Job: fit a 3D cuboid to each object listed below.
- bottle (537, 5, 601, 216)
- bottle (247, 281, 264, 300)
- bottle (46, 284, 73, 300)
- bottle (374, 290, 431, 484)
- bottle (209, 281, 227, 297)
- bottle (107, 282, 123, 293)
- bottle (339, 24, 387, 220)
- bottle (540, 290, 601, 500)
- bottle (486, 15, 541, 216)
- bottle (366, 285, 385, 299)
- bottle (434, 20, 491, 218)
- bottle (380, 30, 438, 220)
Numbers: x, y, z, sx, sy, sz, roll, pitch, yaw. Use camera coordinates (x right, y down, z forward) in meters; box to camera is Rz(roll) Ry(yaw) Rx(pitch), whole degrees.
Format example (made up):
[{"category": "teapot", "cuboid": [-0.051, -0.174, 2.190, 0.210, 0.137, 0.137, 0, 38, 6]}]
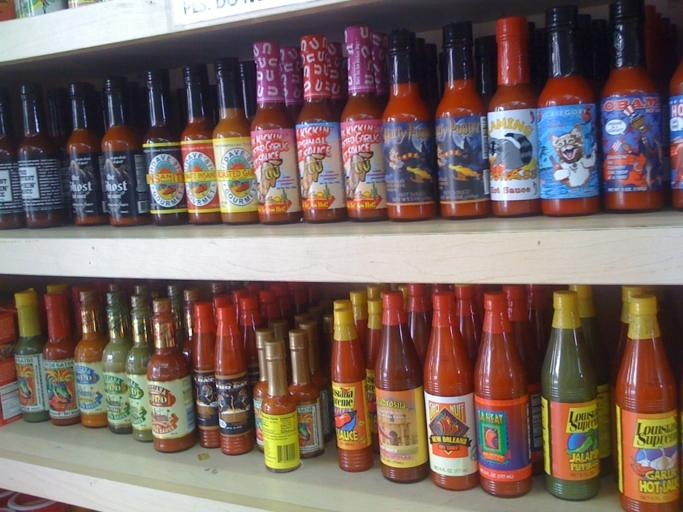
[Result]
[{"category": "bottle", "cuboid": [0.415, -0.268, 1.153, 0.102, 0.384, 0.085, -4, 9, 17]}, {"category": "bottle", "cuboid": [-0.226, 0.091, 1.584, 0.042, 0.035, 0.041, -1, -1, 19]}, {"category": "bottle", "cuboid": [-0.800, 0.102, 1.753, 0.057, 0.031, 0.054, -1, 3, 0]}, {"category": "bottle", "cuboid": [0.119, 0.265, 1.281, 0.101, 0.387, 0.095, -6, 9, 1]}, {"category": "bottle", "cuboid": [-0.325, 0.080, 1.605, 0.057, 0.048, 0.054, 0, -1, 0]}, {"category": "bottle", "cuboid": [-0.603, 0.082, 1.647, 0.032, 0.017, 0.030, -2, -1, 0]}, {"category": "bottle", "cuboid": [0.037, -0.274, 1.303, 0.095, 0.399, 0.083, -6, 9, 0]}, {"category": "bottle", "cuboid": [0.428, 0.264, 1.175, 0.099, 0.394, 0.070, -3, 10, 20]}, {"category": "bottle", "cuboid": [0.324, -0.264, 1.190, 0.093, 0.374, 0.075, -4, 9, 16]}, {"category": "bottle", "cuboid": [0.071, 0.082, 1.408, 0.031, 0.021, 0.029, -2, 3, 0]}, {"category": "bottle", "cuboid": [0.237, -0.271, 1.239, 0.104, 0.387, 0.108, -6, 9, 1]}, {"category": "bottle", "cuboid": [0.128, -0.262, 1.254, 0.105, 0.381, 0.071, -8, 9, -8]}]
